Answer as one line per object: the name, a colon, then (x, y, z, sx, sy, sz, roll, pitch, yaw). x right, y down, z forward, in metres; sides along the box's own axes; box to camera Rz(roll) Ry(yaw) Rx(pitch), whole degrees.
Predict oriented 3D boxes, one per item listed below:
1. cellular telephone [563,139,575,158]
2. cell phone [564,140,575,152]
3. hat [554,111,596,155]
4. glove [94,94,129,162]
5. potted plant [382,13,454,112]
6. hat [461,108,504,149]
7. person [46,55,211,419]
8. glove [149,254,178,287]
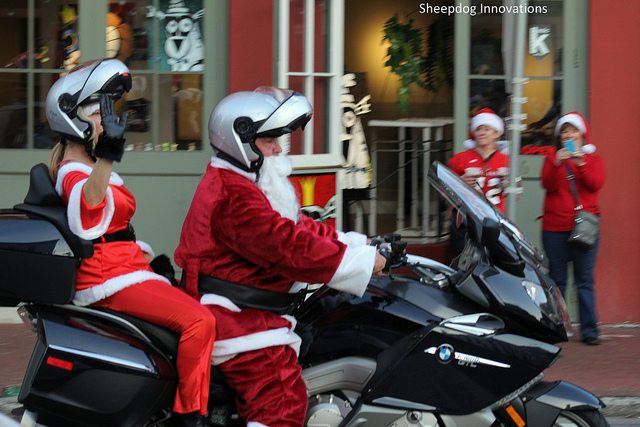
cellular telephone: (2.226, -0.582, 6.282, 0.101, 0.169, 0.102, -10, 18, 6)
cell phone: (2.222, -0.593, 6.277, 0.088, 0.143, 0.087, 3, 29, 23)
hat: (2.389, -0.834, 6.620, 0.390, 0.300, 0.184, -4, -10, -15)
glove: (-1.159, -0.469, 3.893, 0.178, 0.367, 0.167, -1, 5, -15)
potted plant: (1.299, -1.995, 9.256, 0.896, 1.244, 0.374, 1, 5, 10)
hat: (1.656, -0.843, 6.916, 0.561, 0.419, 0.401, -9, 13, -40)
person: (-1.112, 0.139, 4.072, 0.941, 2.090, 0.564, -1, 5, -9)
glove: (-0.955, 0.354, 4.450, 0.199, 0.111, 0.166, 45, 9, 2)
